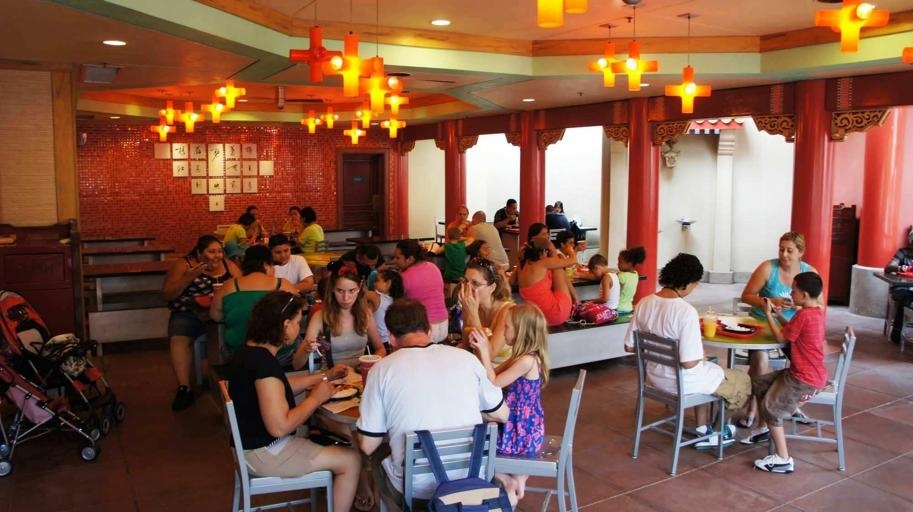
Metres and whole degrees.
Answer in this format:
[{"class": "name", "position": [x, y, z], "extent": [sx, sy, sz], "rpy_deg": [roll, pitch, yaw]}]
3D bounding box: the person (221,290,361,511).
[{"class": "person", "position": [-1.577, 1.412, 5.915], "extent": [1.110, 2.128, 0.571], "rpy_deg": [-5, 12, -12]}]

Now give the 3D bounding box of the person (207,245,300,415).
[{"class": "person", "position": [-2.476, 0.592, 8.010], "extent": [1.267, 1.295, 1.076], "rpy_deg": [-5, 6, -23]}]

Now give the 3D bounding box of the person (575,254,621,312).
[{"class": "person", "position": [2.302, 0.453, 10.097], "extent": [0.532, 0.924, 0.548], "rpy_deg": [-30, 37, -21]}]

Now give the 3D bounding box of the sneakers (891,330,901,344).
[{"class": "sneakers", "position": [7.392, 1.363, 10.352], "extent": [0.079, 0.191, 0.214], "rpy_deg": [-3, 11, -2]}]

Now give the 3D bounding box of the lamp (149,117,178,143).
[{"class": "lamp", "position": [-7.702, -3.346, 16.164], "extent": [0.749, 0.624, 0.677], "rpy_deg": [-1, 9, -10]}]

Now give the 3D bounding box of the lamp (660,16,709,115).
[{"class": "lamp", "position": [3.762, -3.027, 9.908], "extent": [0.596, 1.399, 1.982], "rpy_deg": [2, 11, 21]}]

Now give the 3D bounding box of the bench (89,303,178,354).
[{"class": "bench", "position": [-5.237, 1.151, 9.937], "extent": [1.041, 0.423, 0.279], "rpy_deg": [-2, 17, -19]}]

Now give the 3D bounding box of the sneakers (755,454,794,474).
[{"class": "sneakers", "position": [3.611, 2.350, 6.964], "extent": [0.496, 0.178, 0.180], "rpy_deg": [1, 6, 8]}]

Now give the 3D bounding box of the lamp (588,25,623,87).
[{"class": "lamp", "position": [2.185, -2.852, 8.747], "extent": [0.639, 0.805, 0.389], "rpy_deg": [7, 24, 25]}]

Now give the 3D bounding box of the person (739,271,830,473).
[{"class": "person", "position": [3.822, 1.288, 7.100], "extent": [0.786, 2.223, 0.974], "rpy_deg": [5, 13, 30]}]

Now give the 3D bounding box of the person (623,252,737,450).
[{"class": "person", "position": [2.696, 1.132, 7.208], "extent": [1.370, 2.333, 0.697], "rpy_deg": [1, 12, 14]}]

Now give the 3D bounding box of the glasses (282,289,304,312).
[{"class": "glasses", "position": [-1.567, 0.428, 5.901], "extent": [0.044, 0.149, 0.163], "rpy_deg": [31, 28, 18]}]

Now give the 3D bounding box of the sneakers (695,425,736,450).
[{"class": "sneakers", "position": [3.089, 2.161, 7.331], "extent": [0.640, 0.248, 0.222], "rpy_deg": [-4, 4, -29]}]
